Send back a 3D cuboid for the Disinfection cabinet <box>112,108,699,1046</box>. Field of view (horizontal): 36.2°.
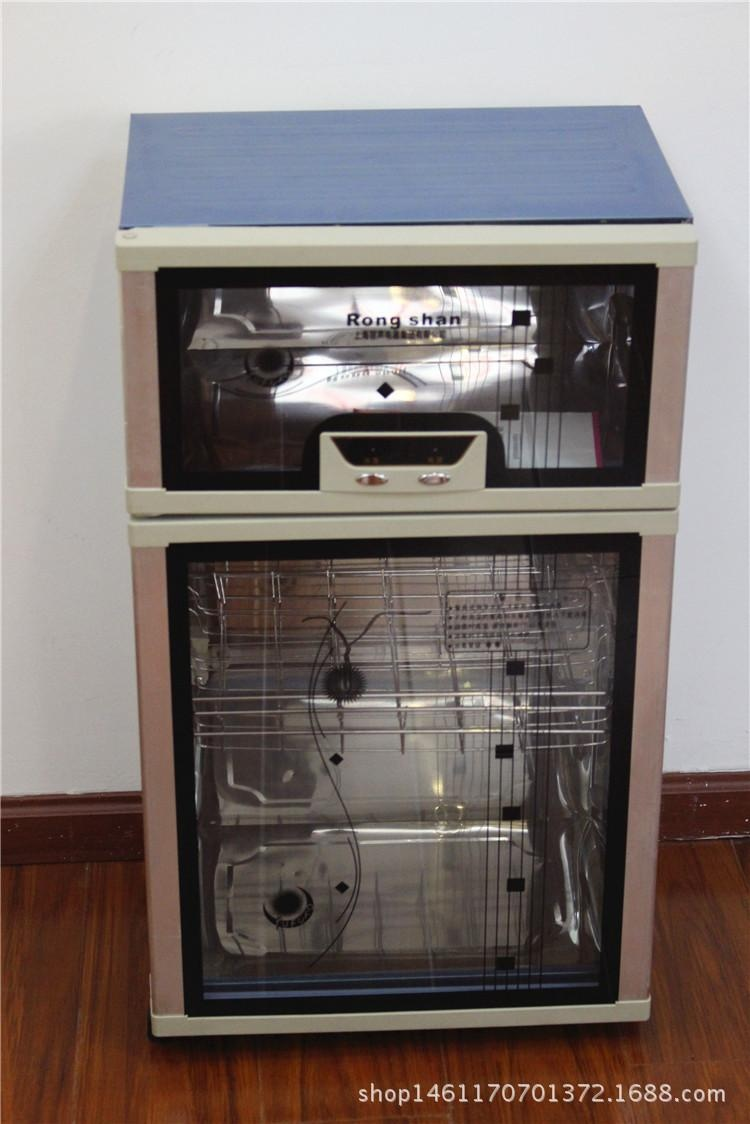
[{"bbox_3d":[0.022,0.034,1.261,0.605,0.895,0.463,-4,31,1],"label":"Disinfection cabinet"}]
